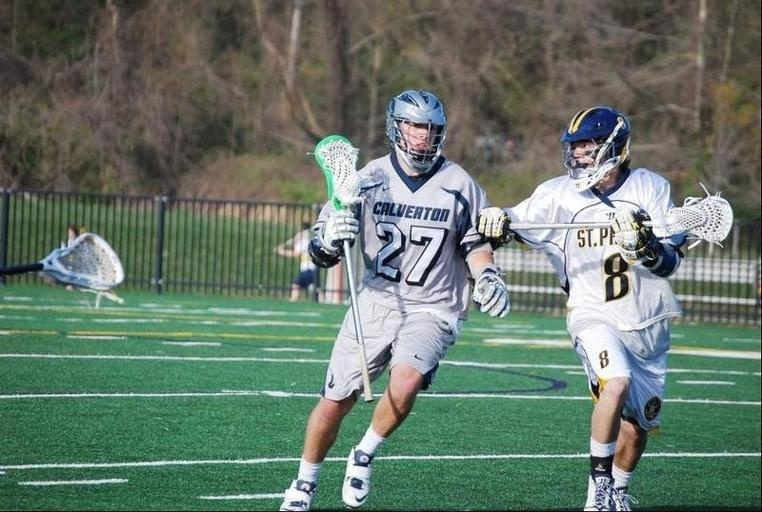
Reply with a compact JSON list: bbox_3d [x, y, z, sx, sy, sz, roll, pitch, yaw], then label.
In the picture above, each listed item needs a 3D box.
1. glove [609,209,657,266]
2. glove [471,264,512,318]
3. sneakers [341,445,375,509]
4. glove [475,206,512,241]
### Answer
[{"bbox_3d":[2.239,-0.174,9.862,0.373,0.491,0.226,5,13,18],"label":"glove"},{"bbox_3d":[0.999,0.314,9.965,0.330,0.450,0.216,4,-4,6],"label":"glove"},{"bbox_3d":[-0.203,1.945,9.834,0.253,0.548,0.199,2,3,-2],"label":"sneakers"},{"bbox_3d":[1.025,-0.286,10.021,0.312,0.291,0.202,2,3,-7],"label":"glove"}]
